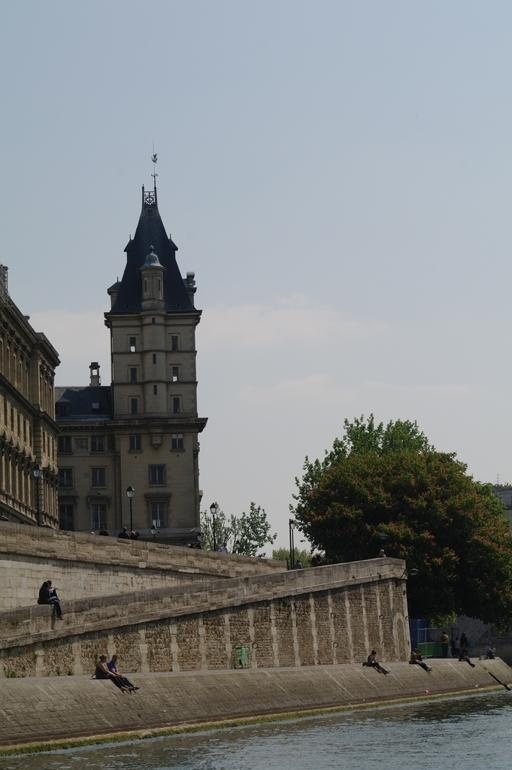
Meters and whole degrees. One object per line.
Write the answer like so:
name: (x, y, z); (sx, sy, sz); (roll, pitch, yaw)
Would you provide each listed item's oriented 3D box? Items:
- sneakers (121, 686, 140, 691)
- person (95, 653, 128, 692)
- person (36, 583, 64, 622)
sneakers: (-3.409, 8.371, 43.945); (0.151, 0.171, 0.654); (-8, -13, 23)
person: (-4.002, 7.945, 44.047); (0.782, 1.068, 1.075); (4, -13, -32)
person: (-5.799, 6.025, 45.066); (0.640, 1.128, 1.216); (-2, -11, -5)
